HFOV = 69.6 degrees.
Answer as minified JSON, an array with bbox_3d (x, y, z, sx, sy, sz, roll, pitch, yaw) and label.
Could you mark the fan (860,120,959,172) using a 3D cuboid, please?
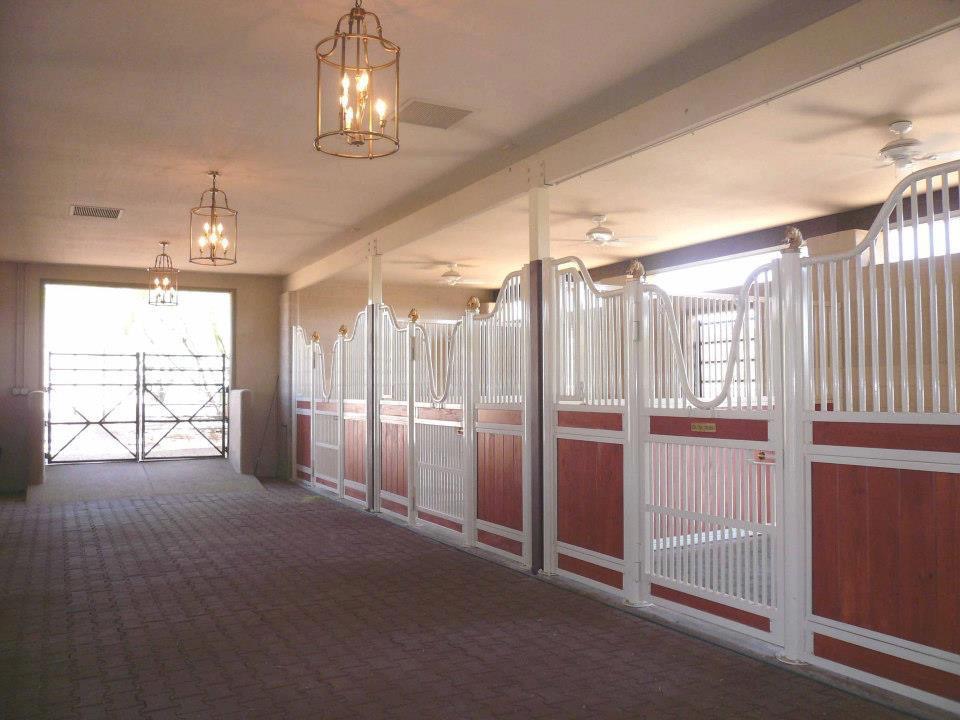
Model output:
[{"bbox_3d":[3.657,-1.838,5.943,0.481,0.185,0.430,-1,-3,5],"label":"fan"}]
